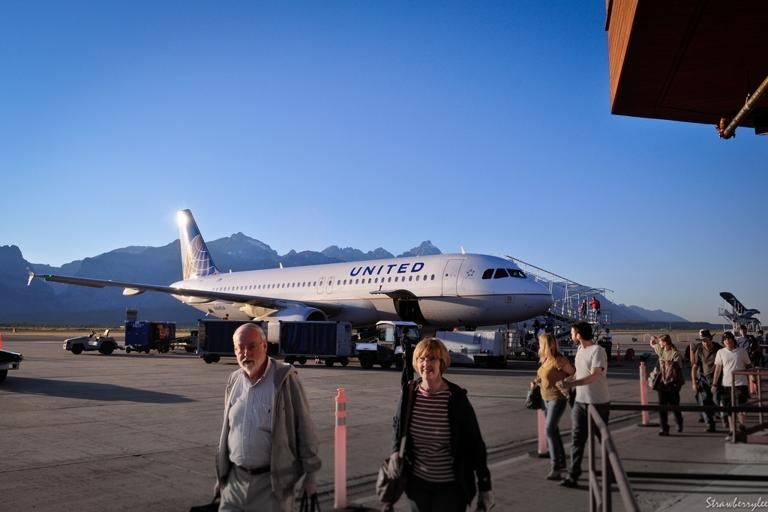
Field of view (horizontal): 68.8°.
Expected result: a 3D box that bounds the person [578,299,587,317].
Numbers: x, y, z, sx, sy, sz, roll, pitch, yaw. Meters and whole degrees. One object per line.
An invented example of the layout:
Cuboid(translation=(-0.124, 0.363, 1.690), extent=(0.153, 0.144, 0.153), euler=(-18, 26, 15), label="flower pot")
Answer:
Cuboid(translation=(11.885, 3.089, 33.411), extent=(0.453, 1.214, 2.537), euler=(-5, -10, 19), label="person")

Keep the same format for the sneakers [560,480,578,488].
Cuboid(translation=(2.918, 3.574, 8.820), extent=(0.304, 0.119, 0.106), euler=(1, -9, 23), label="sneakers")
